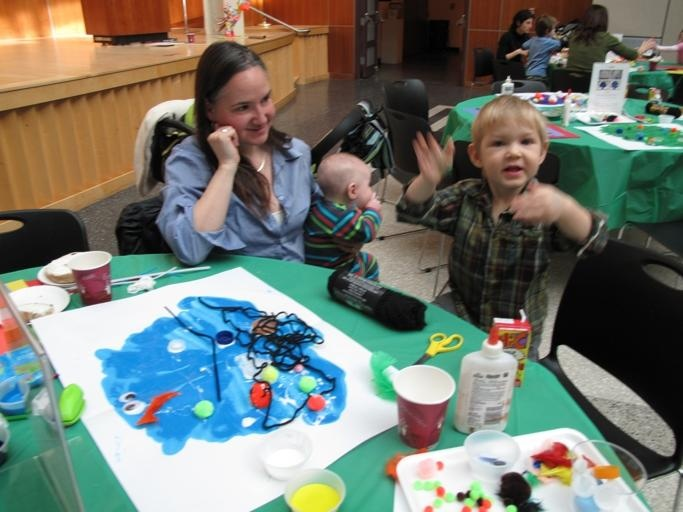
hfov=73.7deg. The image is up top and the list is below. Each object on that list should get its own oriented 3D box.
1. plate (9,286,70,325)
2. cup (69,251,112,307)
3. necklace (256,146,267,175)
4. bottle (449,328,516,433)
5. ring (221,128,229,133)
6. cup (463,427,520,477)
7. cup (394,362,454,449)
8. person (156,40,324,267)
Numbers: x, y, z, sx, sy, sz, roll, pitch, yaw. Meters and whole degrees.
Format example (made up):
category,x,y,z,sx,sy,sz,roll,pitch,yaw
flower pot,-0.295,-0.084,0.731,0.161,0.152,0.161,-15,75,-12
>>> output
category,x,y,z,sx,sy,sz,roll,pitch,yaw
plate,-0.807,0.111,1.222,0.109,0.014,0.108,17,33,10
cup,-0.676,0.065,1.232,0.095,0.097,0.094,7,33,-5
necklace,-0.297,-0.351,1.689,0.009,0.122,0.030,13,-12,-7
bottle,0.294,0.240,0.896,0.128,0.219,0.088,-21,32,-38
ring,-0.390,-0.426,1.536,0.023,0.013,0.036,-6,24,-12
cup,0.273,0.362,0.830,0.095,0.063,0.055,3,24,6
cup,0.154,0.292,0.879,0.111,0.139,0.089,3,24,8
person,-0.344,-0.338,1.593,0.639,0.760,0.400,-14,28,-28
